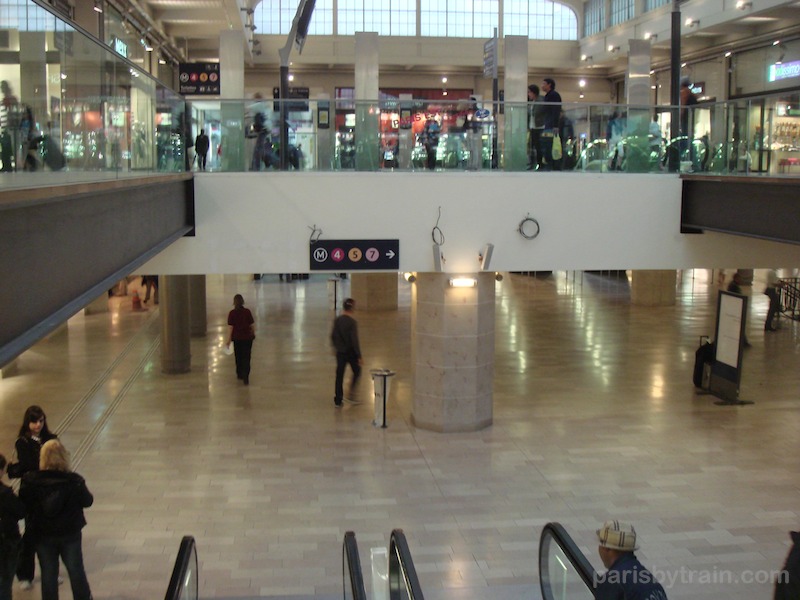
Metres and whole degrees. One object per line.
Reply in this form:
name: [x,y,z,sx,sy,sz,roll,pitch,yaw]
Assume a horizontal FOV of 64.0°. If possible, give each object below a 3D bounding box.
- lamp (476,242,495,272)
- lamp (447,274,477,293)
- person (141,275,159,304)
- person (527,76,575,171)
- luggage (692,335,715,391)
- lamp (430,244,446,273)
lamp: [1.588,-0.786,11.700,0.310,0.496,0.199,1,7,7]
lamp: [1.181,-0.325,11.904,0.535,0.306,0.099,-1,7,-8]
person: [-10.880,-0.554,28.052,0.514,1.135,2.057,-3,9,-24]
person: [2.823,-3.341,12.065,0.765,1.798,1.194,2,8,12]
luggage: [7.077,1.382,14.940,0.417,1.260,1.764,3,9,25]
lamp: [0.701,-0.767,11.633,0.205,0.520,0.317,3,8,23]
